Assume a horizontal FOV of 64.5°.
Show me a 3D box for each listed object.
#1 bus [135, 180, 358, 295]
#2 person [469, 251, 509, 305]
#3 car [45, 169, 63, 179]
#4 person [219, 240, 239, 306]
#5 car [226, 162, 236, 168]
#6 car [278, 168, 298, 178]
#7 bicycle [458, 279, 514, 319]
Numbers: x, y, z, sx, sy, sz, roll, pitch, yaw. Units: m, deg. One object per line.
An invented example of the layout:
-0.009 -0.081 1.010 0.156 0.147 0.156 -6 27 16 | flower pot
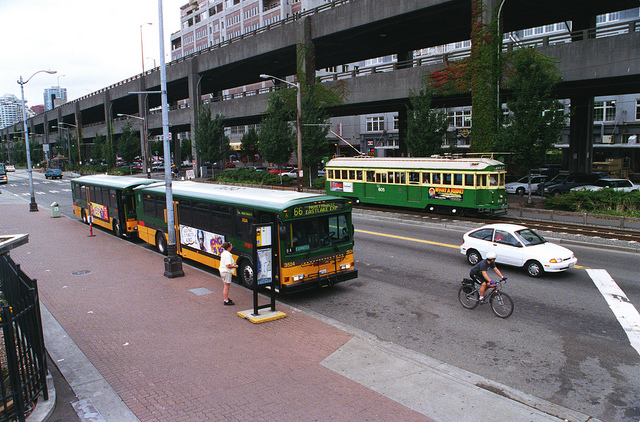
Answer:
-4.343 0.653 23.848 3.919 3.670 12.733 -9 10 -39 | bus
6.026 2.422 18.438 0.971 1.993 1.372 -5 8 -41 | person
-43.582 -6.158 83.401 1.700 1.447 3.248 -5 11 -42 | car
-3.499 2.330 19.390 0.600 2.390 0.860 -4 9 -11 | person
-16.914 -8.549 95.446 1.086 0.896 1.976 -11 19 -44 | car
-4.083 -5.066 65.522 2.394 0.771 1.508 1 3 -11 | car
5.995 3.121 18.532 1.994 1.275 1.026 6 11 35 | bicycle
